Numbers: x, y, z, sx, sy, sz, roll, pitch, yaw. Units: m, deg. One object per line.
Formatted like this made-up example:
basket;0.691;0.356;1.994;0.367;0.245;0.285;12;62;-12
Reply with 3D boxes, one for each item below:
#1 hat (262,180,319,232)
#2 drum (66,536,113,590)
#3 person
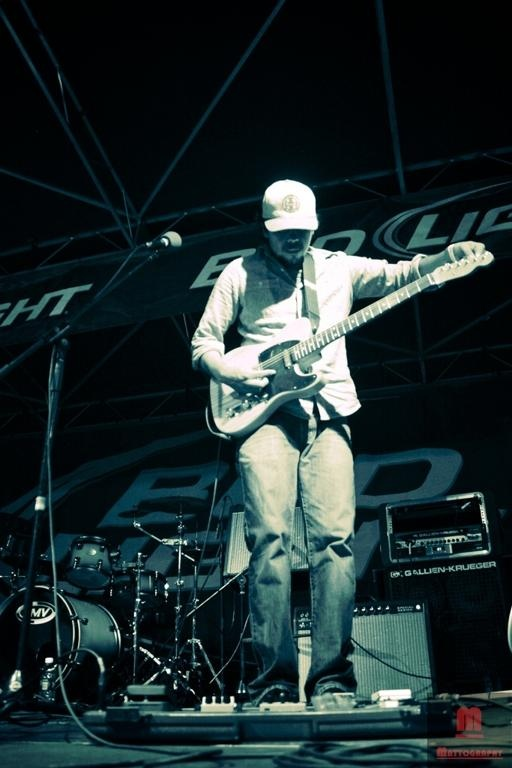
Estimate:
hat;0.135;-0.705;3.065;0.182;0.239;0.119;0;-51;1
drum;-1.308;1.470;6.200;0.453;0.386;0.405;0;-59;-12
person;0.193;0.112;2.859;0.811;2.008;0.494;5;-24;-15
